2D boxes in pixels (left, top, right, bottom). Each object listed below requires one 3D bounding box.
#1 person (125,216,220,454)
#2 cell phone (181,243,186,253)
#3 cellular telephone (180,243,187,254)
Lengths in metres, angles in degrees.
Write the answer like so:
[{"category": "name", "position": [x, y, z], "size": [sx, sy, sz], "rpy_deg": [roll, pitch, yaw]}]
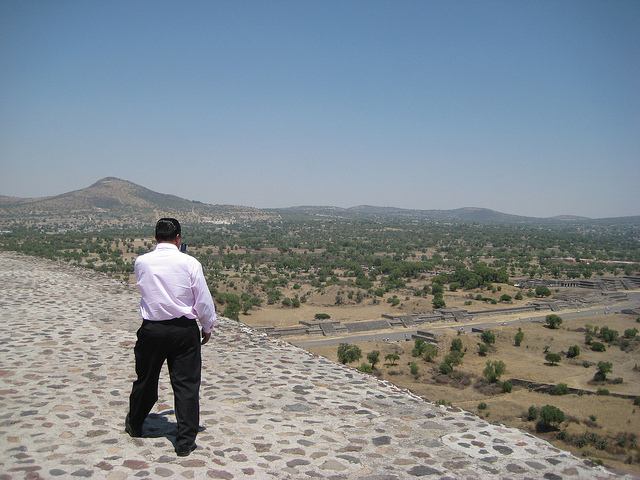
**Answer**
[{"category": "person", "position": [-1.359, 0.833, 3.800], "size": [0.779, 1.879, 0.429], "rpy_deg": [6, -3, -6]}, {"category": "cell phone", "position": [-1.287, 0.072, 3.930], "size": [0.092, 0.084, 0.021], "rpy_deg": [2, -4, 44]}, {"category": "cellular telephone", "position": [-1.285, 0.071, 3.925], "size": [0.026, 0.098, 0.107], "rpy_deg": [9, -4, -44]}]
